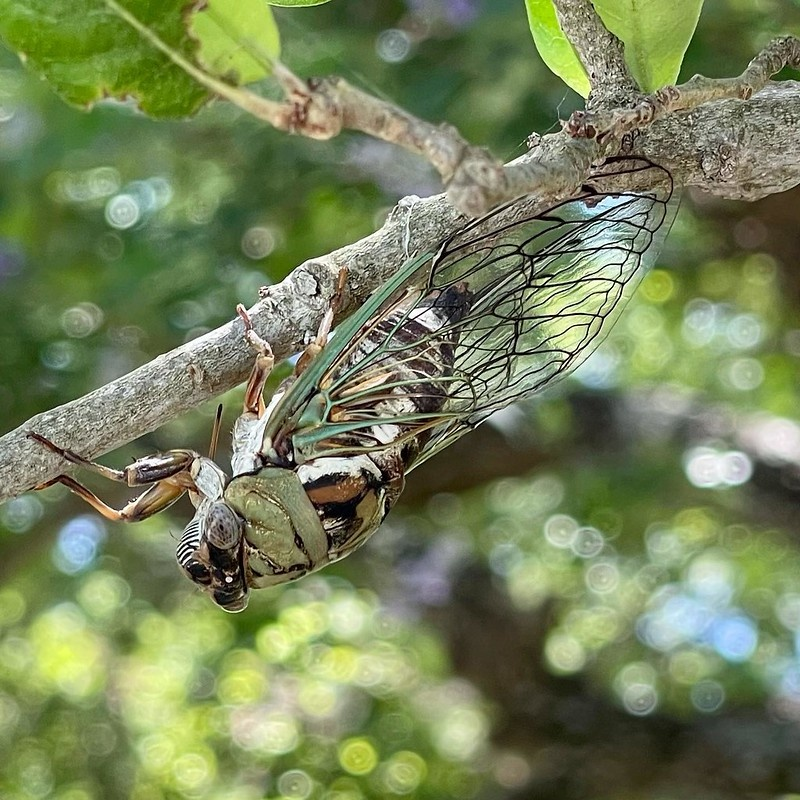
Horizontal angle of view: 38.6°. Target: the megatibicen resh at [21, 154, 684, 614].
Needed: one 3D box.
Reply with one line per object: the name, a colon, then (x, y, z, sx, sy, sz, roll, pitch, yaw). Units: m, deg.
megatibicen resh: (0.023, -0.033, 2.102, 0.987, 0.767, 1.098, 1, 9, 30)
